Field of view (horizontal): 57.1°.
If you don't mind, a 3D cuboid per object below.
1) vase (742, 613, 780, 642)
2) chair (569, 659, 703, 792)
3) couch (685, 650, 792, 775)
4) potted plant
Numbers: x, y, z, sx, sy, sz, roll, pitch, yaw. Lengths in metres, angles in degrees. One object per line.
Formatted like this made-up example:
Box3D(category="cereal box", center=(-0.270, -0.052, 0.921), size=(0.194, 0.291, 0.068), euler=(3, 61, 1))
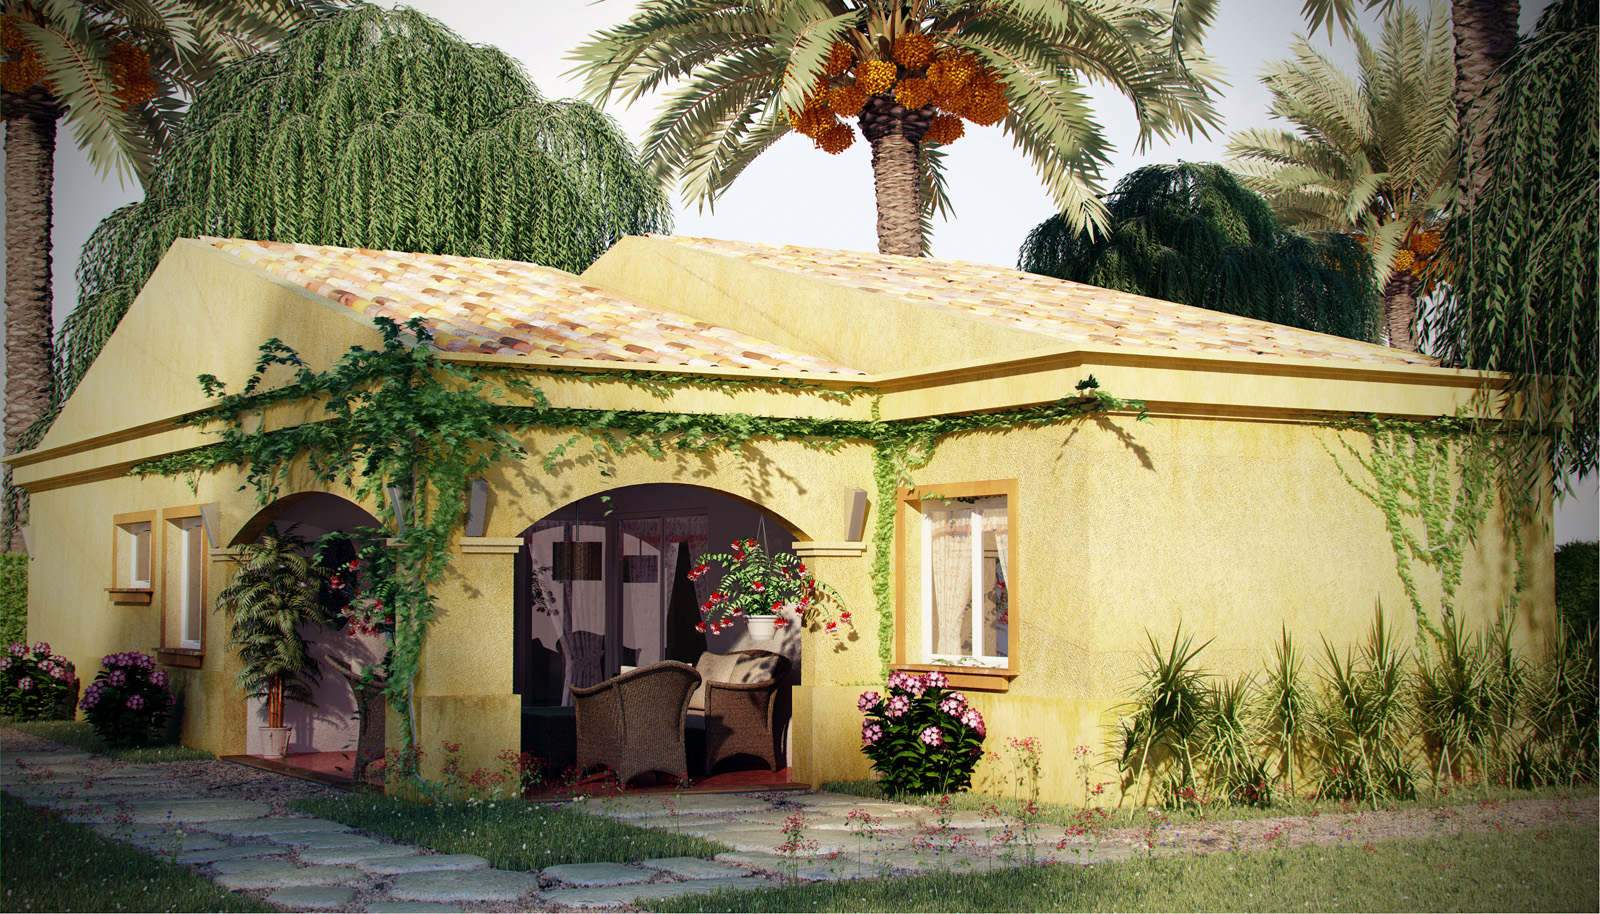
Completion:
Box3D(category="vase", center=(-0.527, 2.446, 21.449), size=(0.416, 0.299, 0.415), euler=(0, 1, -27))
Box3D(category="chair", center=(-2.157, 3.689, 20.403), size=(1.613, 1.584, 1.742), euler=(7, -11, -37))
Box3D(category="couch", center=(-1.318, 3.772, 22.254), size=(1.460, 1.582, 3.079), euler=(6, -8, -26))
Box3D(category="potted plant", center=(-7.974, 2.875, 22.529), size=(1.348, 3.521, 0.955), euler=(-5, 7, -42))
